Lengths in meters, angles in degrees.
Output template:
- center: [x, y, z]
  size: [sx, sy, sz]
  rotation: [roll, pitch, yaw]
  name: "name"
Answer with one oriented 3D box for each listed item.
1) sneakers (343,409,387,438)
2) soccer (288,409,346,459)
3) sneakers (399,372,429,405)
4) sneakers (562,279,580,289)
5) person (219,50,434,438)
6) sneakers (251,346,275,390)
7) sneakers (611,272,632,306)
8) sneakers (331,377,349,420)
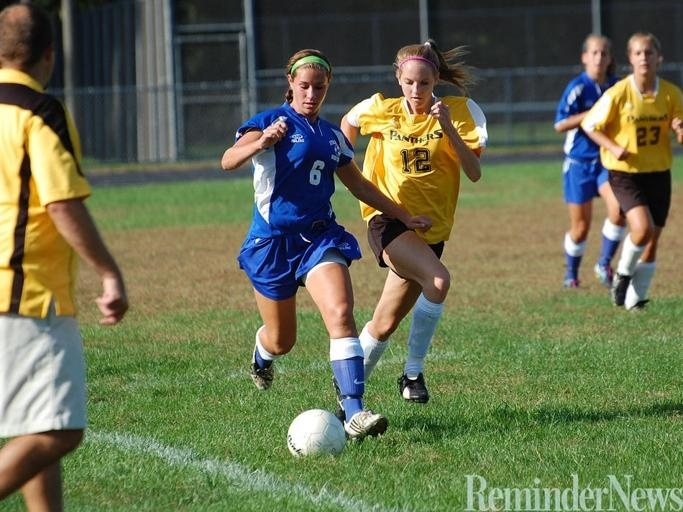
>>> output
- center: [0.158, 1.029, 6.659]
  size: [0.308, 0.160, 0.113]
  rotation: [-18, -9, 32]
  name: "sneakers"
- center: [-0.151, 1.046, 6.622]
  size: [0.312, 0.297, 0.282]
  rotation: [-7, 9, -13]
  name: "soccer"
- center: [0.495, 0.894, 7.293]
  size: [0.114, 0.117, 0.261]
  rotation: [1, -3, -16]
  name: "sneakers"
- center: [2.204, 0.260, 10.390]
  size: [0.066, 0.087, 0.190]
  rotation: [1, 5, -3]
  name: "sneakers"
- center: [-0.095, -0.143, 7.018]
  size: [1.176, 2.322, 0.724]
  rotation: [10, 16, 43]
  name: "person"
- center: [-0.538, 0.807, 7.541]
  size: [0.114, 0.336, 0.137]
  rotation: [-9, 15, -24]
  name: "sneakers"
- center: [2.442, 0.285, 9.442]
  size: [0.106, 0.276, 0.144]
  rotation: [3, -10, 37]
  name: "sneakers"
- center: [-0.012, 0.925, 7.024]
  size: [0.088, 0.279, 0.121]
  rotation: [-7, -7, -1]
  name: "sneakers"
